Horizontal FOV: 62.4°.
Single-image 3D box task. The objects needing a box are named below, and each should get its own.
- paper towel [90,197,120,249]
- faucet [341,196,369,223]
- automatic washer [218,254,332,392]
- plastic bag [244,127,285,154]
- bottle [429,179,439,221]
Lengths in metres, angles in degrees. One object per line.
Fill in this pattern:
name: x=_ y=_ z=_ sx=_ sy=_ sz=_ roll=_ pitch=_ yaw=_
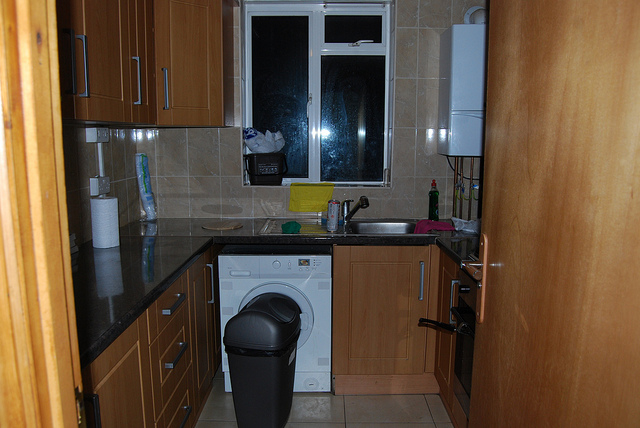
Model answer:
paper towel: x=-1.162 y=0.048 z=2.873 sx=0.134 sy=0.270 sz=0.097 roll=-5 pitch=9 yaw=-27
faucet: x=0.232 y=-0.025 z=3.524 sx=0.063 sy=0.166 sz=0.295 roll=7 pitch=-10 yaw=-31
automatic washer: x=-0.159 y=0.629 z=3.522 sx=0.743 sy=1.120 sz=0.765 roll=0 pitch=5 yaw=0
plastic bag: x=-0.386 y=-0.500 z=3.685 sx=0.223 sy=0.112 sz=0.170 roll=8 pitch=-7 yaw=-10
bottle: x=0.799 y=-0.102 z=3.687 sx=0.064 sy=0.270 sz=0.103 roll=1 pitch=8 yaw=12
